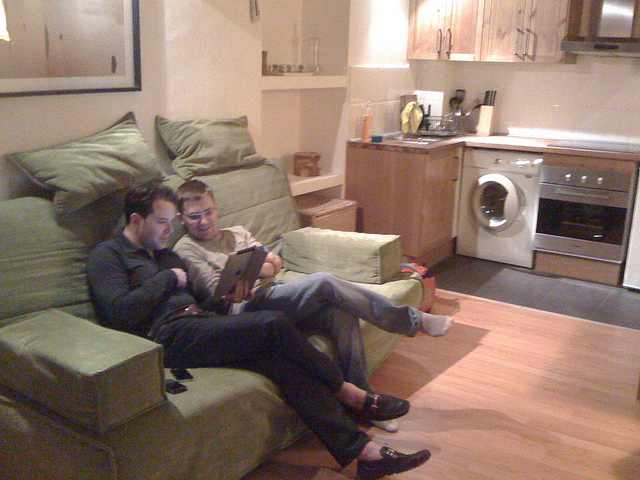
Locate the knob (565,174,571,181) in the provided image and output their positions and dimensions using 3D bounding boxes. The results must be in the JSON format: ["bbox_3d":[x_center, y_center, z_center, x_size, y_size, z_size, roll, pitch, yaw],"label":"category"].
[{"bbox_3d":[2.065,-0.523,4.067,0.045,0.054,0.048,4,5,43],"label":"knob"}]

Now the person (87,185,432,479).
[{"bbox_3d":[-0.561,0.311,2.514,2.167,1.065,0.829,10,6,8],"label":"person"}]

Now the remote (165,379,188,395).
[{"bbox_3d":[-0.538,0.544,1.831,0.077,0.015,0.070,13,7,18],"label":"remote"}]

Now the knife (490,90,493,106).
[{"bbox_3d":[1.705,-1.414,4.854,0.023,0.113,0.038,5,21,22],"label":"knife"}]

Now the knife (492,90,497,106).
[{"bbox_3d":[1.737,-1.406,4.871,0.036,0.112,0.136,8,9,11],"label":"knife"}]

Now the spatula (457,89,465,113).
[{"bbox_3d":[1.452,-1.460,5.031,0.072,0.167,0.139,2,19,14],"label":"spatula"}]

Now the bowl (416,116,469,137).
[{"bbox_3d":[1.202,-1.095,4.781,0.445,0.130,0.267,5,13,25],"label":"bowl"}]

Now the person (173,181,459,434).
[{"bbox_3d":[-0.090,0.312,2.460,1.693,0.870,0.633,16,27,31],"label":"person"}]

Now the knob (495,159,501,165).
[{"bbox_3d":[1.598,-0.701,4.389,0.018,0.036,0.033,17,5,-35],"label":"knob"}]

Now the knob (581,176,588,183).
[{"bbox_3d":[2.169,-0.496,4.004,0.054,0.059,0.050,7,15,42],"label":"knob"}]

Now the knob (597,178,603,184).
[{"bbox_3d":[2.261,-0.477,3.946,0.053,0.043,0.039,5,11,39],"label":"knob"}]
